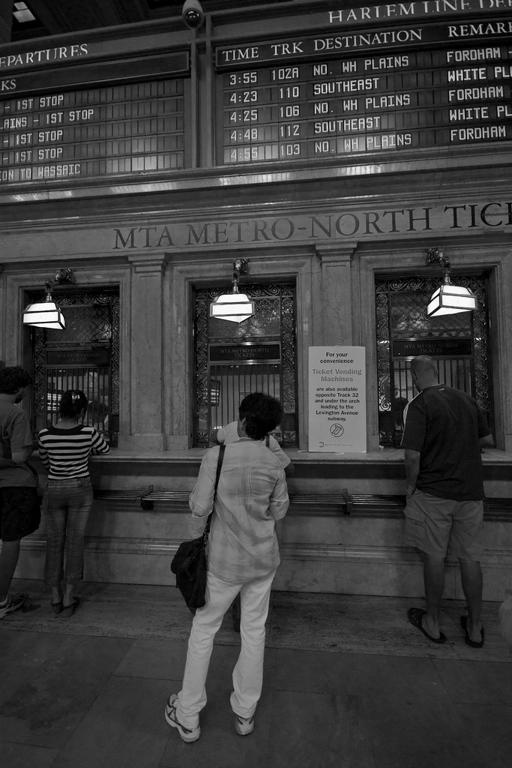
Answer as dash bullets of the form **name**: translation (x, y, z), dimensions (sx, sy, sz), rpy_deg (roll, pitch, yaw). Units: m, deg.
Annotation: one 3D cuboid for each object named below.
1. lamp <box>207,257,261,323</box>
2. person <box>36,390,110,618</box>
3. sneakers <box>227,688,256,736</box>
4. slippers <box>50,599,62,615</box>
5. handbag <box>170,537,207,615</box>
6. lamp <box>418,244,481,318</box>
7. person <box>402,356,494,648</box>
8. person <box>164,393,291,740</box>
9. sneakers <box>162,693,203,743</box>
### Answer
- **lamp**: translation (-0.144, -0.766, 5.766), dimensions (0.336, 0.508, 0.463), rpy_deg (2, 6, 20)
- **person**: translation (-1.291, 0.820, 4.953), dimensions (0.433, 1.514, 0.327), rpy_deg (-2, 5, -22)
- **sneakers**: translation (-0.067, 1.666, 3.531), dimensions (0.073, 0.183, 0.234), rpy_deg (1, 0, 1)
- **slippers**: translation (-1.372, 1.546, 4.848), dimensions (0.048, 0.112, 0.096), rpy_deg (0, -1, -2)
- **handbag**: translation (-0.329, 0.965, 3.472), dimensions (0.173, 0.361, 0.210), rpy_deg (-1, 5, -6)
- **lamp**: translation (1.515, -0.800, 5.508), dimensions (0.328, 0.529, 0.635), rpy_deg (0, 6, 3)
- **person**: translation (1.194, 0.822, 4.492), dimensions (0.499, 1.555, 0.405), rpy_deg (1, 5, 14)
- **person**: translation (-0.147, 0.896, 3.541), dimensions (0.644, 1.673, 0.409), rpy_deg (-1, 5, -13)
- **sneakers**: translation (-0.364, 1.666, 3.516), dimensions (0.088, 0.136, 0.253), rpy_deg (5, 13, -25)
